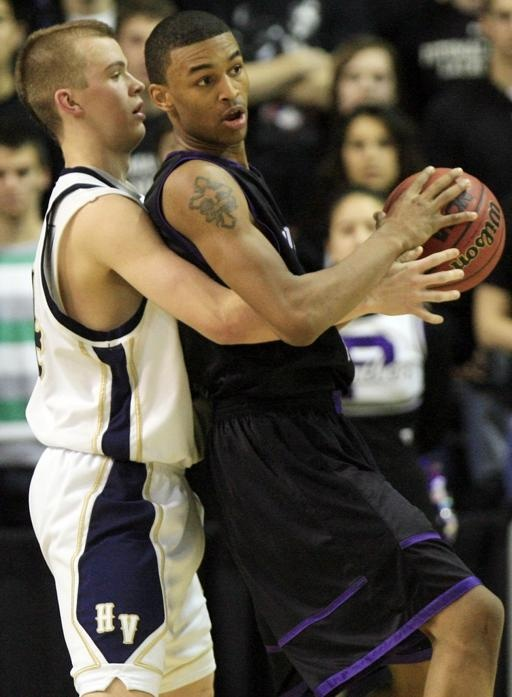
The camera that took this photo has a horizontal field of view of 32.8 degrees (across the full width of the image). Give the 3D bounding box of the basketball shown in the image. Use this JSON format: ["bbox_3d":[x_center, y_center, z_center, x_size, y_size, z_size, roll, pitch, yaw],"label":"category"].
[{"bbox_3d":[0.462,-0.277,2.091,0.361,0.305,0.306,-4,6,-9],"label":"basketball"}]
